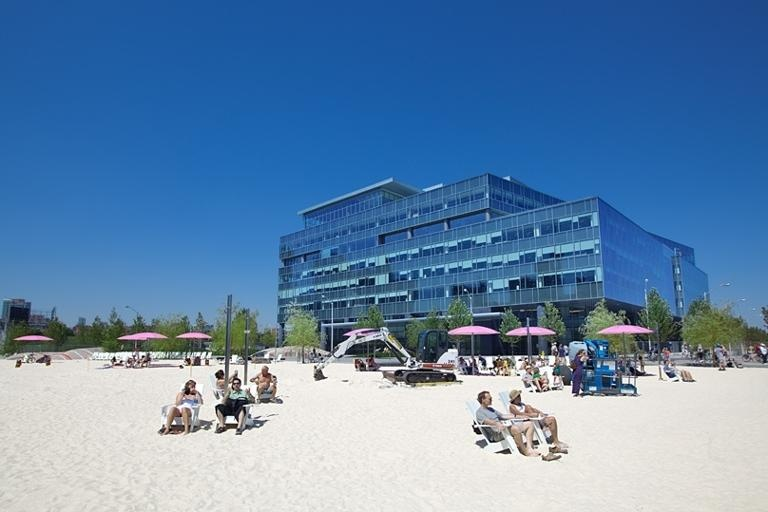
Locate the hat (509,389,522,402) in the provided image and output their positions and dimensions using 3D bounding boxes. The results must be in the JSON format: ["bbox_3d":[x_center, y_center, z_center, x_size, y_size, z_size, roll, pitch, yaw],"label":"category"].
[{"bbox_3d":[3.883,4.150,16.560,0.339,0.119,0.314,-41,0,28],"label":"hat"}]

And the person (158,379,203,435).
[{"bbox_3d":[-6.626,4.954,18.492,0.940,1.443,2.556,4,-11,-6],"label":"person"}]

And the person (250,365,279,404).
[{"bbox_3d":[-5.141,5.511,24.259,1.153,1.654,1.022,-15,-21,36],"label":"person"}]

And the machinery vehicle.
[{"bbox_3d":[0.531,5.583,34.092,7.739,3.348,4.535,2,-17,-6],"label":"machinery vehicle"}]

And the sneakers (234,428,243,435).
[{"bbox_3d":[-4.628,5.598,17.907,0.214,0.174,0.278,3,-12,-17],"label":"sneakers"}]

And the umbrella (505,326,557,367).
[{"bbox_3d":[11.929,7.255,46.012,3.481,3.775,3.477,-2,0,-36],"label":"umbrella"}]

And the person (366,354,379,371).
[{"bbox_3d":[-0.849,8.513,44.182,1.199,1.302,0.821,-10,-14,39],"label":"person"}]

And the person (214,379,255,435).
[{"bbox_3d":[-5.009,5.033,18.917,1.114,1.149,1.673,0,-11,-4],"label":"person"}]
